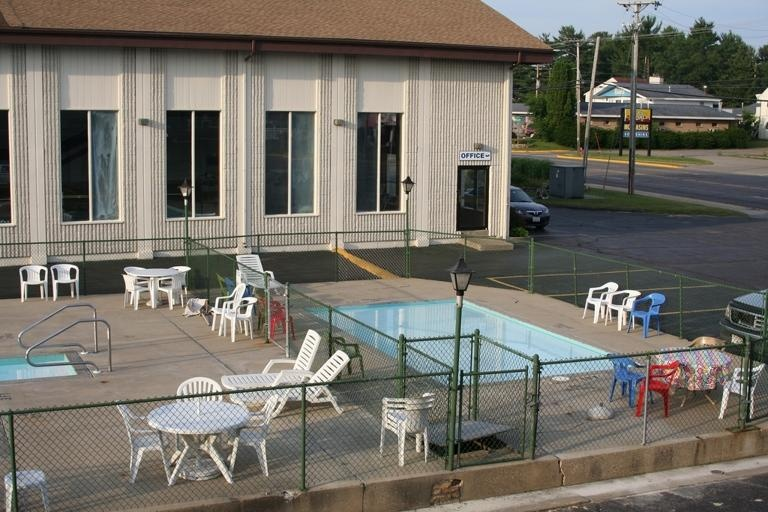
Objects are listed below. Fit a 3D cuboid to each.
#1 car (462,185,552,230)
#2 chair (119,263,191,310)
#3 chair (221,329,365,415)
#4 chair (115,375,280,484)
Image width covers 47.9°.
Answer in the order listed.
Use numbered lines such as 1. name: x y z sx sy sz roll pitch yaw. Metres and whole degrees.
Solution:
1. car: 6.226 -1.999 38.949 1.987 1.671 4.529 -2 7 -26
2. chair: -6.513 0.875 25.104 1.726 1.088 1.696 -6 9 -21
3. chair: -2.192 2.474 18.364 2.274 1.352 1.594 -1 5 -20
4. chair: -3.477 3.194 16.277 2.107 1.063 2.162 0 4 -3
